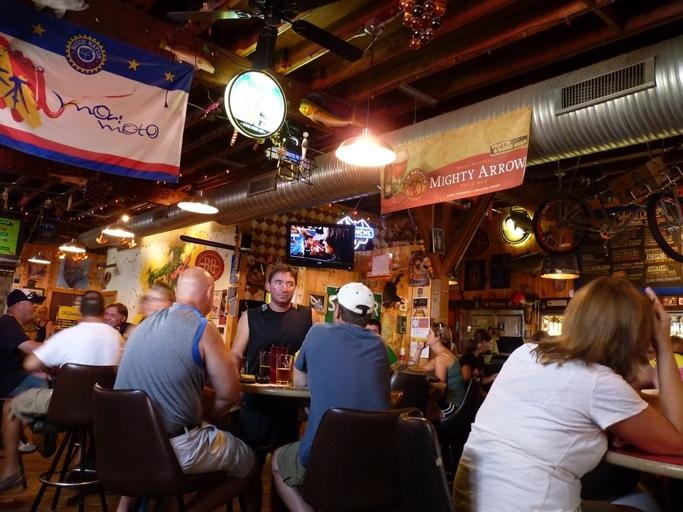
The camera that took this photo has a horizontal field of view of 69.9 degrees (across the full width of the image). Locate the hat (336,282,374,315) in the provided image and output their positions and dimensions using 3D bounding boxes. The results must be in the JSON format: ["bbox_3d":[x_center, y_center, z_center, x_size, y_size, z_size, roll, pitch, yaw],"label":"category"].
[{"bbox_3d":[0.079,0.245,3.147,0.172,0.141,0.228,11,9,-22],"label":"hat"}]

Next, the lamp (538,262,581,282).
[{"bbox_3d":[3.896,0.284,8.835,0.654,0.271,0.673,3,-2,-29],"label":"lamp"}]

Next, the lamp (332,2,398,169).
[{"bbox_3d":[0.292,-1.600,5.229,0.548,1.494,1.417,1,-9,5],"label":"lamp"}]

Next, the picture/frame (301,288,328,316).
[{"bbox_3d":[-0.483,0.783,8.458,0.585,0.597,0.079,13,-28,-29],"label":"picture/frame"}]

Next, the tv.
[{"bbox_3d":[-0.376,-0.199,8.768,0.924,0.671,0.125,3,-5,-5],"label":"tv"}]

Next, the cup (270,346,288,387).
[{"bbox_3d":[-0.468,0.815,3.583,0.200,0.309,0.202,1,-13,0],"label":"cup"}]

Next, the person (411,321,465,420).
[{"bbox_3d":[1.099,1.399,5.564,0.613,1.227,0.505,1,1,14],"label":"person"}]

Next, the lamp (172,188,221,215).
[{"bbox_3d":[-1.991,-0.709,6.863,0.475,0.235,0.483,6,-12,5],"label":"lamp"}]

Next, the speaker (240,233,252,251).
[{"bbox_3d":[-1.938,-0.297,9.692,0.166,0.319,0.316,-4,-9,30],"label":"speaker"}]

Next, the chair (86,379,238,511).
[{"bbox_3d":[-1.152,1.078,2.868,0.589,0.902,0.630,-5,-8,28],"label":"chair"}]

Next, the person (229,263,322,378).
[{"bbox_3d":[-0.560,0.634,4.254,0.784,1.109,0.685,1,8,-20],"label":"person"}]
